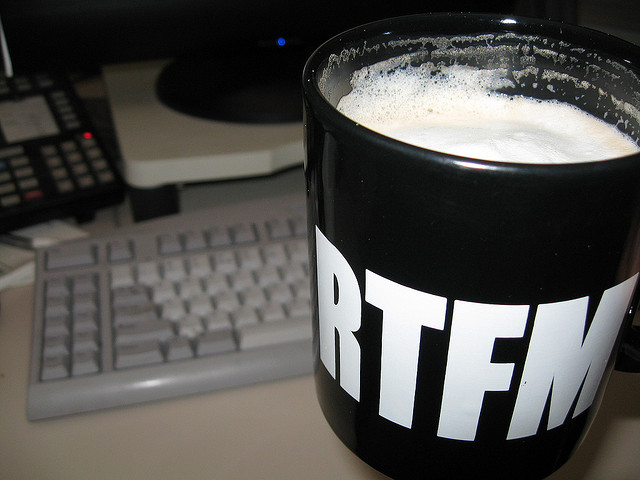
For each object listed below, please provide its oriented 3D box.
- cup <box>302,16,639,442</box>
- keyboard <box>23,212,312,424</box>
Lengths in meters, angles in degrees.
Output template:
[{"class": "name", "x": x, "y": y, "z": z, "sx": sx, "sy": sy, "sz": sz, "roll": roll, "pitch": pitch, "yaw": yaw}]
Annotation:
[{"class": "cup", "x": 0.076, "y": -0.004, "z": 0.311, "sx": 0.173, "sy": 0.183, "sz": 0.172, "roll": 2, "pitch": 39, "yaw": -2}, {"class": "keyboard", "x": -0.125, "y": 0.054, "z": 0.503, "sx": 0.247, "sy": 0.037, "sz": 0.180, "roll": -5, "pitch": 41, "yaw": -10}]
